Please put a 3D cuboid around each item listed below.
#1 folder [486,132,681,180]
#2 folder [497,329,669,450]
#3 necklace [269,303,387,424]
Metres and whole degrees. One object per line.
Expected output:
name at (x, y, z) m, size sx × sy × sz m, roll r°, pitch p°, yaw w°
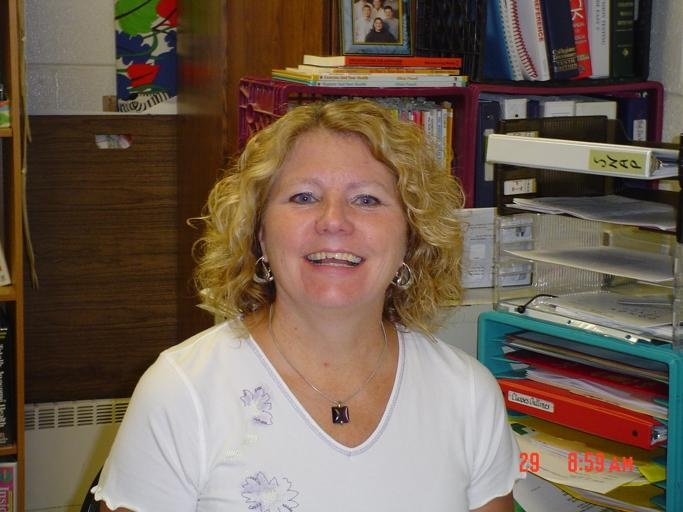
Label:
folder at (0.521, -0.209, 1.486) m, size 0.199 × 0.048 × 0.210 m, roll 4°, pitch 7°, yaw -42°
folder at (0.590, 0.330, 1.663) m, size 0.281 × 0.140 × 0.278 m, roll 1°, pitch 5°, yaw -43°
necklace at (-0.007, 0.211, 1.410) m, size 0.216 × 0.220 × 0.055 m, roll -4°, pitch -5°, yaw -12°
